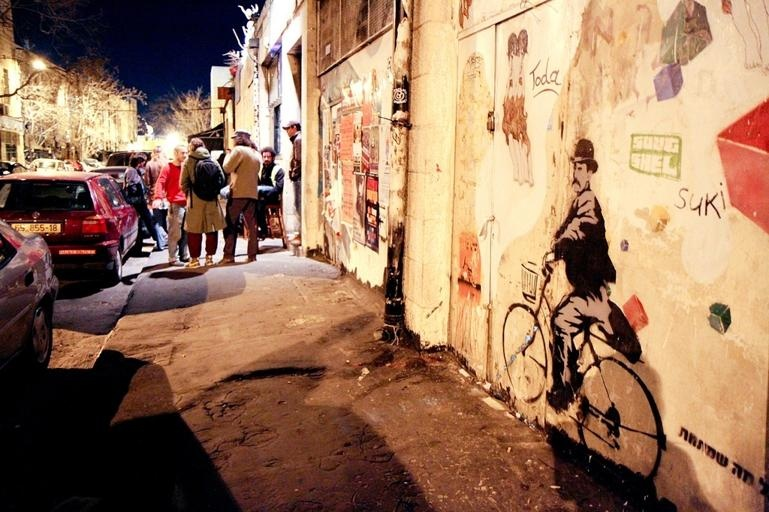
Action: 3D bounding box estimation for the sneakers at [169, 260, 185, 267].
[{"bbox_3d":[-4.016,0.165,9.364,0.129,0.133,0.296,2,-6,-44],"label":"sneakers"}]

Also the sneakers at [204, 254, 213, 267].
[{"bbox_3d":[-3.262,0.097,9.029,0.127,0.265,0.367,-1,7,-15],"label":"sneakers"}]

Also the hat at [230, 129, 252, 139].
[{"bbox_3d":[-2.718,-2.280,9.217,0.273,0.153,0.386,-3,8,-35],"label":"hat"}]

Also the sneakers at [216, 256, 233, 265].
[{"bbox_3d":[-2.903,0.091,8.905,0.300,0.105,0.300,-1,11,-4],"label":"sneakers"}]

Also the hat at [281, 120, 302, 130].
[{"bbox_3d":[-2.011,-2.832,10.521,0.414,0.224,0.288,2,4,-1],"label":"hat"}]

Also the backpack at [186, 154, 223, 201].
[{"bbox_3d":[-3.143,-1.361,8.729,0.559,0.746,0.420,-6,24,-45],"label":"backpack"}]
